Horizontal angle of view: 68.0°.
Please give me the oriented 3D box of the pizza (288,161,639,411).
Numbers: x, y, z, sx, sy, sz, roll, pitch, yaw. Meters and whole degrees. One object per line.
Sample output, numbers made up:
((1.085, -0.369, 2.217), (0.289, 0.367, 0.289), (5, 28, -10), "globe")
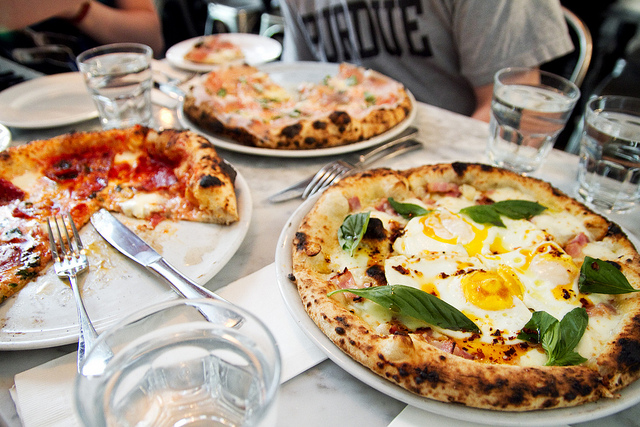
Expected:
((0.597, 0.204, 1.938), (1.393, 0.178, 1.135), (7, 45, 9), "pizza")

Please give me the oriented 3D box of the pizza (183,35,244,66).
((-0.875, -1.333, 3.876), (0.393, 0.063, 0.448), (-15, 34, -16), "pizza")

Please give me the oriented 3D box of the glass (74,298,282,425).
((-0.392, 0.473, 1.417), (0.562, 0.276, 0.349), (1, 45, 3), "glass")

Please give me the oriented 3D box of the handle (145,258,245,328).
((-0.456, 0.286, 1.721), (0.304, 0.175, 0.272), (13, 19, 36), "handle")

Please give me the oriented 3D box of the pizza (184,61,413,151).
((-0.233, -0.695, 3.120), (1.222, 0.196, 1.244), (7, 29, 1), "pizza")
